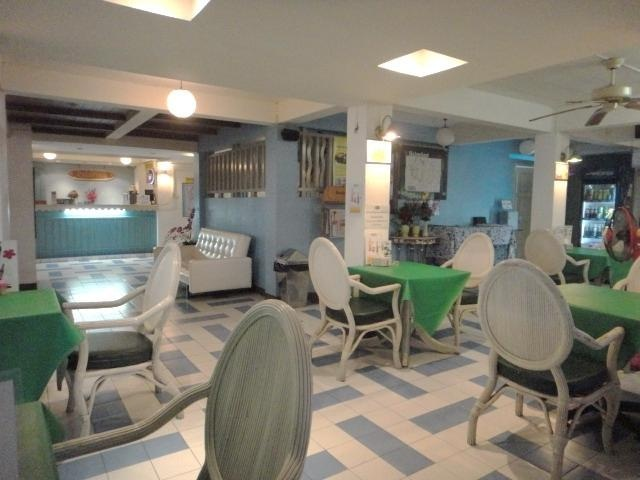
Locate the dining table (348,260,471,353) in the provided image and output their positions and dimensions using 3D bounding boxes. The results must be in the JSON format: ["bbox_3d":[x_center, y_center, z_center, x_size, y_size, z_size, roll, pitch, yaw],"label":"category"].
[{"bbox_3d":[0.935,0.546,4.643,1.005,0.769,0.973,3,0,-31],"label":"dining table"}]

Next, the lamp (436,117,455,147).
[{"bbox_3d":[2.299,-1.993,8.176,0.296,0.479,0.996,3,9,15],"label":"lamp"}]

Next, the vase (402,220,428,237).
[{"bbox_3d":[1.714,-0.177,8.002,0.482,0.336,0.295,3,-4,-22],"label":"vase"}]

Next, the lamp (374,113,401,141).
[{"bbox_3d":[0.885,-1.375,5.505,0.239,0.399,0.321,1,-2,-33],"label":"lamp"}]

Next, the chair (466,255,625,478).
[{"bbox_3d":[1.578,0.825,3.050,0.936,1.452,0.649,-2,10,-11],"label":"chair"}]

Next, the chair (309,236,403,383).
[{"bbox_3d":[0.351,0.619,4.437,0.902,1.316,0.755,-2,10,-12],"label":"chair"}]

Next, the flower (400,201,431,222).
[{"bbox_3d":[1.694,-0.505,7.983,0.463,0.283,0.411,-4,-1,18],"label":"flower"}]

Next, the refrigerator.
[{"bbox_3d":[6.794,-0.876,10.734,1.204,1.963,0.730,9,13,43],"label":"refrigerator"}]

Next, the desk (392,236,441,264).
[{"bbox_3d":[1.795,0.176,8.178,0.630,0.702,0.618,1,-1,-43],"label":"desk"}]
